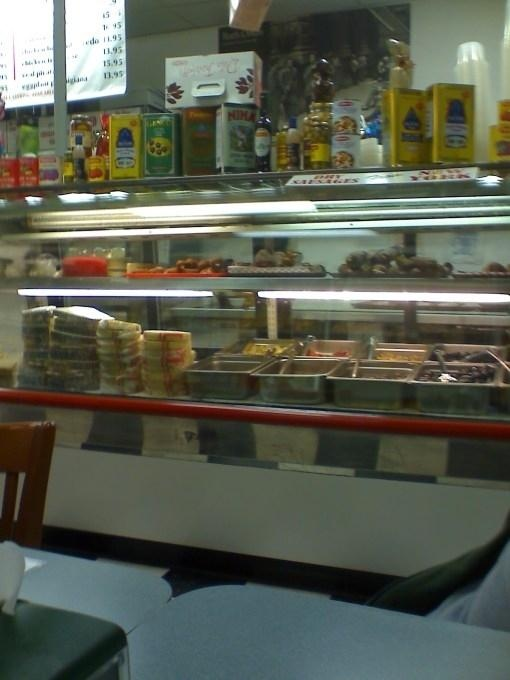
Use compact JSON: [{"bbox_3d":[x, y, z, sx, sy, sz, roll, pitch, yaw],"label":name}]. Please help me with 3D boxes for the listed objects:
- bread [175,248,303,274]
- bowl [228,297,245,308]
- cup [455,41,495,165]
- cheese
[{"bbox_3d":[-0.066,-0.241,1.798,0.404,0.074,0.091,1,9,29],"label":"bread"},{"bbox_3d":[-0.057,-0.116,1.783,0.062,0.036,0.031,6,13,18],"label":"bowl"},{"bbox_3d":[0.584,-0.634,1.545,0.092,0.318,0.076,-2,9,18],"label":"cup"},{"bbox_3d":[-0.451,-0.001,2.003,0.535,0.300,0.388,2,8,22],"label":"cheese"}]
